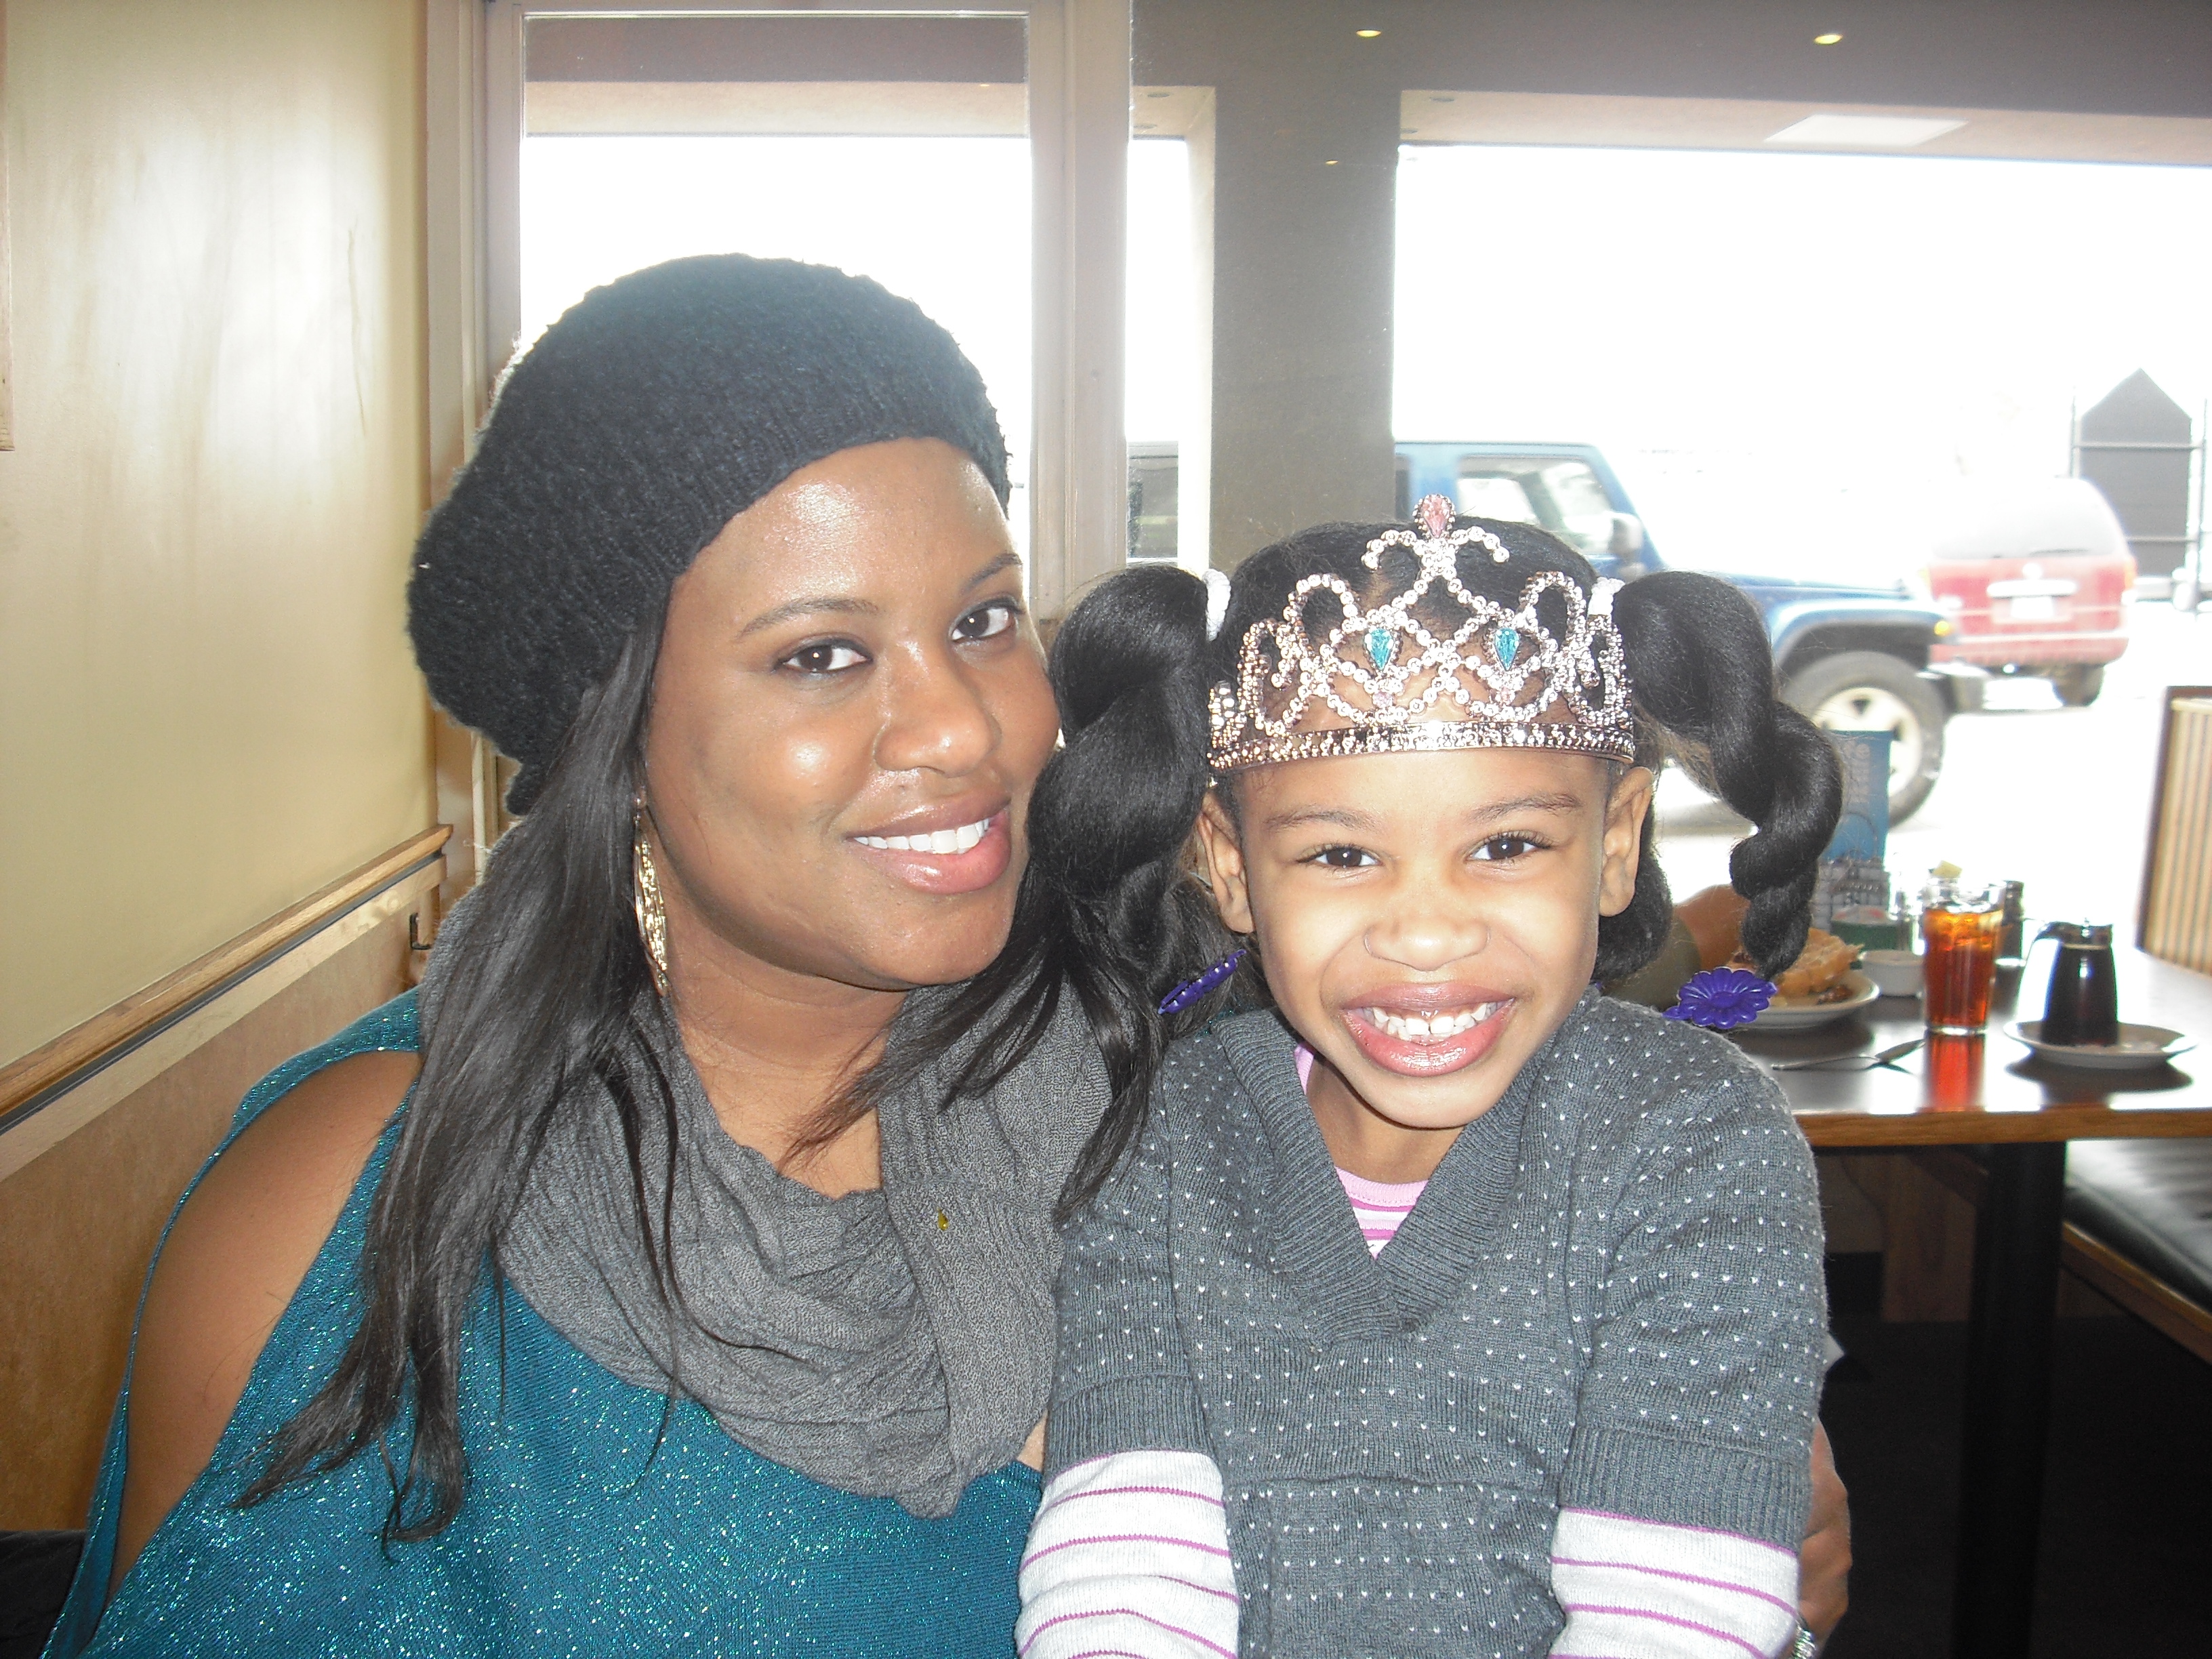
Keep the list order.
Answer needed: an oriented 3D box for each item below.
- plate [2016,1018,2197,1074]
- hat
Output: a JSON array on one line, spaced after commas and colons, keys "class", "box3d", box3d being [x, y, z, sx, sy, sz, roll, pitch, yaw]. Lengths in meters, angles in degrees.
[{"class": "plate", "box3d": [1.497, 0.321, 2.756, 0.273, 0.040, 0.198, -2, 13, 2]}, {"class": "hat", "box3d": [-0.354, -0.266, 1.537, 0.477, 0.419, 0.166, 0, 12, 9]}]
